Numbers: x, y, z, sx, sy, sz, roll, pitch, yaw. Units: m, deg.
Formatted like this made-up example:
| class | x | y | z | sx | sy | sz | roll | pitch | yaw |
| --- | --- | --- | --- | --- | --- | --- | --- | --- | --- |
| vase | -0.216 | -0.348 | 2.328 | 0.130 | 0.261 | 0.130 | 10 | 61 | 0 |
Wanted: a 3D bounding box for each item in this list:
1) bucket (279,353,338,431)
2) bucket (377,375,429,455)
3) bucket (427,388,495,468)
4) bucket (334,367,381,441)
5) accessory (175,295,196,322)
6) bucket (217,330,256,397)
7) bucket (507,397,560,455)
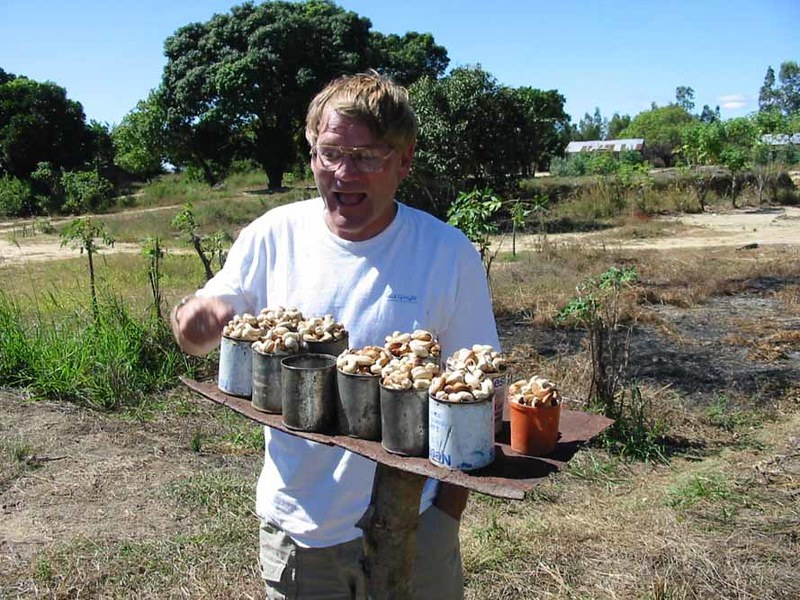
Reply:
| class | x | y | z | sx | sy | sz | roll | pitch | yaw |
| --- | --- | --- | --- | --- | --- | --- | --- | --- | --- |
| bucket | -0.410 | 0.445 | 3.374 | 0.287 | 0.357 | 0.304 | 3 | 7 | 0 |
| bucket | 0.029 | 0.535 | 3.201 | 0.240 | 0.298 | 0.257 | 0 | 2 | 0 |
| bucket | 0.263 | 0.524 | 3.088 | 0.272 | 0.329 | 0.285 | -2 | 20 | 1 |
| bucket | -0.148 | 0.466 | 3.278 | 0.233 | 0.297 | 0.249 | -3 | 8 | 0 |
| accessory | -1.100 | 0.045 | 3.652 | 0.114 | 0.120 | 0.167 | -2 | 8 | -2 |
| bucket | -0.800 | 0.318 | 3.463 | 0.226 | 0.283 | 0.250 | 9 | -4 | 5 |
| bucket | 0.606 | 0.539 | 3.157 | 0.203 | 0.206 | 0.211 | 1 | 5 | 0 |
